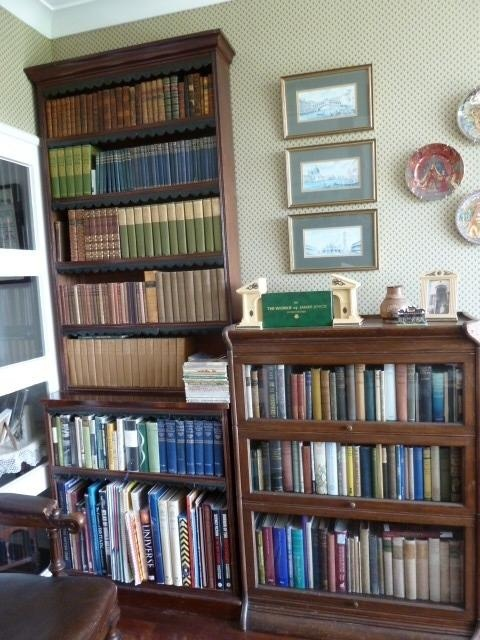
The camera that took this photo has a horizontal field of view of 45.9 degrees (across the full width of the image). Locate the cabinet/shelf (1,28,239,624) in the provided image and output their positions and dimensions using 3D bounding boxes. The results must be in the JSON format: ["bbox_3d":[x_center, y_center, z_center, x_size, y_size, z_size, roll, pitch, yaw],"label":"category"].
[{"bbox_3d":[-0.422,0.026,2.406,0.870,2.260,0.540,-2,7,12],"label":"cabinet/shelf"}]

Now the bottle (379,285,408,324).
[{"bbox_3d":[0.560,-0.058,2.036,0.088,0.122,0.137,-5,6,-10],"label":"bottle"}]
